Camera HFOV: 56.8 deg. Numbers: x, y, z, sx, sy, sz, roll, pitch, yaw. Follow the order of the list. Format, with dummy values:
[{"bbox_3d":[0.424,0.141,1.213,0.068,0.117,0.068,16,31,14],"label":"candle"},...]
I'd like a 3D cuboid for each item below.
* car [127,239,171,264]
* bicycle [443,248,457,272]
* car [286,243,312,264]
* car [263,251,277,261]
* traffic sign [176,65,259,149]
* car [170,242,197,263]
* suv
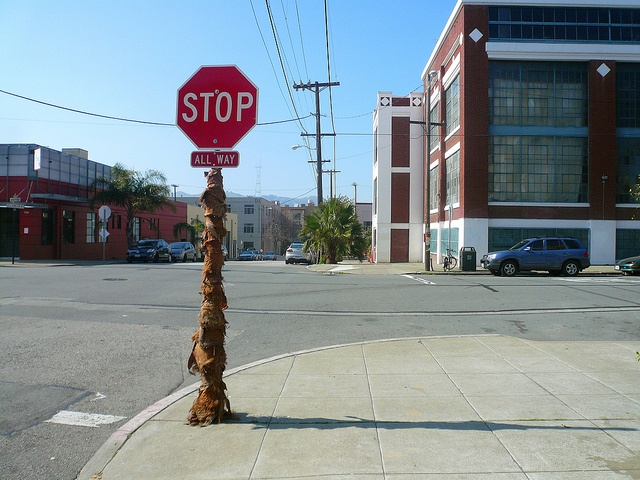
[{"bbox_3d":[-9.589,0.612,33.804,1.066,0.852,2.383,-2,-7,7],"label":"car"},{"bbox_3d":[6.420,0.988,29.230,0.692,0.832,1.298,2,3,14],"label":"bicycle"},{"bbox_3d":[-1.320,0.908,39.287,1.189,1.079,2.763,0,2,5],"label":"car"},{"bbox_3d":[-5.852,2.086,69.924,1.031,0.857,2.399,2,7,-1],"label":"car"},{"bbox_3d":[-1.522,-1.965,8.777,1.167,1.242,0.273,0,4,14],"label":"traffic sign"},{"bbox_3d":[-8.681,0.768,37.485,0.862,0.760,1.687,-3,-6,10],"label":"car"},{"bbox_3d":[9.248,0.603,25.672,3.808,1.752,1.867,2,-3,4],"label":"suv"}]
